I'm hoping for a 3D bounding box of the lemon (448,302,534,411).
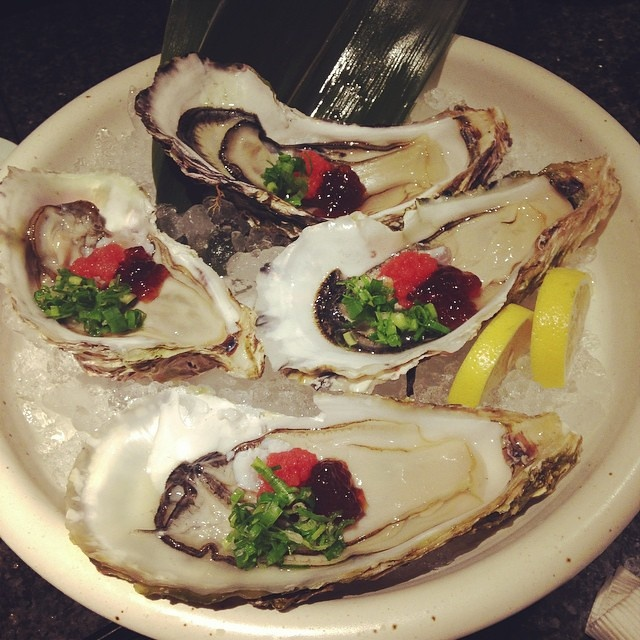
[{"bbox_3d":[0.442,0.104,1.902,0.407,0.113,0.095,-35,63,-32],"label":"lemon"}]
